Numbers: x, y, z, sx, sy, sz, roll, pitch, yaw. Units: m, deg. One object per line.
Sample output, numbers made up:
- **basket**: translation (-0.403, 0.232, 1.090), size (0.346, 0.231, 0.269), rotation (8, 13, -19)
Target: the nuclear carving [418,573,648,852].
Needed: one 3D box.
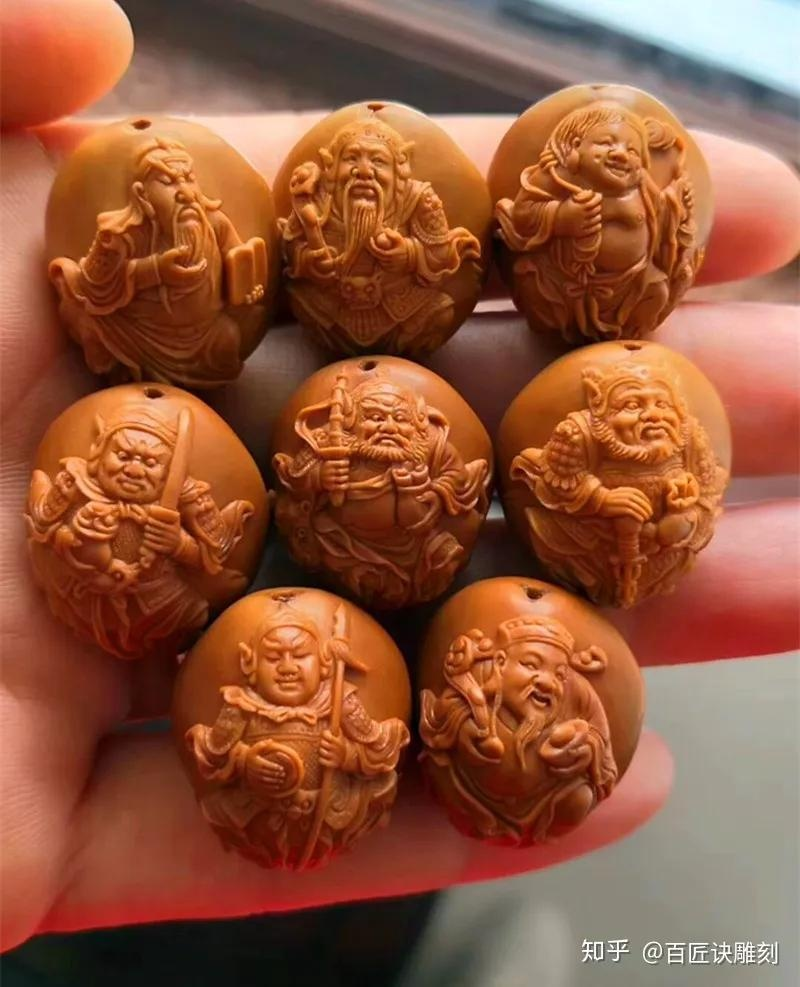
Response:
- **nuclear carving**: translation (0.146, 0.264, 1.500), size (0.302, 0.198, 0.307), rotation (3, 83, -19)

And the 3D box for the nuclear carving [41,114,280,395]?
- **nuclear carving**: translation (-0.340, -0.337, 1.619), size (0.354, 0.391, 0.356), rotation (-5, 18, -19)

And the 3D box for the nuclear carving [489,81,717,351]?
- **nuclear carving**: translation (0.259, -0.369, 1.590), size (0.310, 0.299, 0.239), rotation (16, 49, 8)

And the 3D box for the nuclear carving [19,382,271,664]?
- **nuclear carving**: translation (-0.302, 0.028, 1.407), size (0.318, 0.188, 0.322), rotation (5, 86, -18)

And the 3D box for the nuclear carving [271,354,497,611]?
- **nuclear carving**: translation (-0.029, -0.022, 1.583), size (0.332, 0.339, 0.318), rotation (-1, 12, -20)

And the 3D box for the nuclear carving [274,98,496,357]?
- **nuclear carving**: translation (-0.016, -0.343, 1.553), size (0.270, 0.268, 0.218), rotation (5, 49, -2)

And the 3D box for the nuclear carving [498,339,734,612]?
- **nuclear carving**: translation (0.293, -0.033, 1.547), size (0.333, 0.348, 0.214), rotation (-8, 21, -15)
